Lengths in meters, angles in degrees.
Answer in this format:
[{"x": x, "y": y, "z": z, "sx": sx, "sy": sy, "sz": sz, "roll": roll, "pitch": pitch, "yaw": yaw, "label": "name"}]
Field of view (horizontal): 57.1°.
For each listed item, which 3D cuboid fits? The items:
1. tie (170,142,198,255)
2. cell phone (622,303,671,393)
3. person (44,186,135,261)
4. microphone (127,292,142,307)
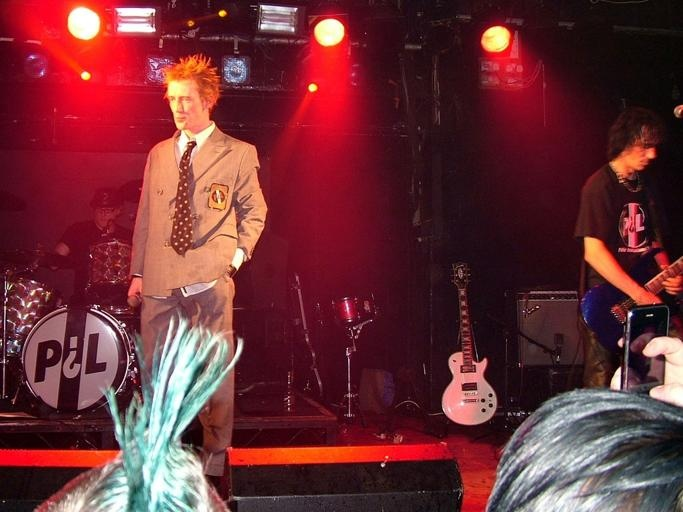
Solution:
[{"x": -0.703, "y": -0.262, "z": 2.799, "sx": 0.091, "sy": 0.528, "sz": 0.083, "roll": 4, "pitch": -5, "yaw": -17, "label": "tie"}, {"x": 0.468, "y": 0.146, "z": 0.962, "sx": 0.103, "sy": 0.209, "sz": 0.023, "roll": 2, "pitch": -2, "yaw": -25, "label": "cell phone"}, {"x": -2.323, "y": -0.252, "z": 6.010, "sx": 0.677, "sy": 0.745, "sz": 0.422, "roll": 4, "pitch": 12, "yaw": 25, "label": "person"}, {"x": -0.957, "y": 0.215, "z": 2.895, "sx": 0.063, "sy": 0.030, "sz": 0.093, "roll": 26, "pitch": 25, "yaw": -18, "label": "microphone"}]
